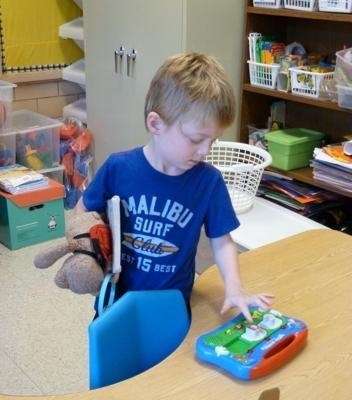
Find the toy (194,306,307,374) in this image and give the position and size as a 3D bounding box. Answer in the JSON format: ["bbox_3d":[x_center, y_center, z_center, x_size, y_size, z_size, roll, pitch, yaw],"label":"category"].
[{"bbox_3d":[0.122,0.223,0.570,0.130,0.051,0.165,1,11,44],"label":"toy"}]

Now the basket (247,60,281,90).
[{"bbox_3d":[0.440,-0.613,1.784,0.160,0.103,0.117,22,35,33],"label":"basket"}]

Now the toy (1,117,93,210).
[{"bbox_3d":[-0.825,-0.421,2.575,0.675,0.682,0.556,17,24,38],"label":"toy"}]

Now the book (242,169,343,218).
[{"bbox_3d":[0.585,-0.036,1.811,0.288,0.092,0.244,31,28,35],"label":"book"}]

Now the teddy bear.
[{"bbox_3d":[-0.172,0.095,0.654,0.107,0.050,0.128,5,40,8],"label":"teddy bear"}]

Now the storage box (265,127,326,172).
[{"bbox_3d":[0.598,-0.249,1.864,0.270,0.171,0.185,-17,28,-33],"label":"storage box"}]
